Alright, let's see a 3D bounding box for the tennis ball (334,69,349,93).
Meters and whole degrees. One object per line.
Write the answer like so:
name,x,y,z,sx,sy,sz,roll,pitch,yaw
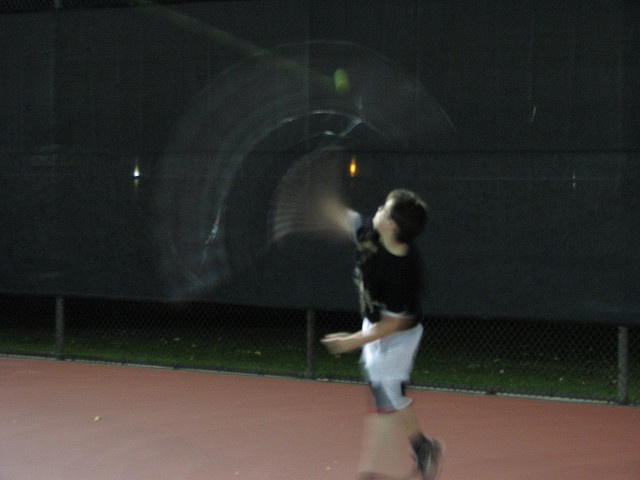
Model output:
tennis ball,0.198,-1.479,6.450,0.130,0.211,0.054,-1,7,8
